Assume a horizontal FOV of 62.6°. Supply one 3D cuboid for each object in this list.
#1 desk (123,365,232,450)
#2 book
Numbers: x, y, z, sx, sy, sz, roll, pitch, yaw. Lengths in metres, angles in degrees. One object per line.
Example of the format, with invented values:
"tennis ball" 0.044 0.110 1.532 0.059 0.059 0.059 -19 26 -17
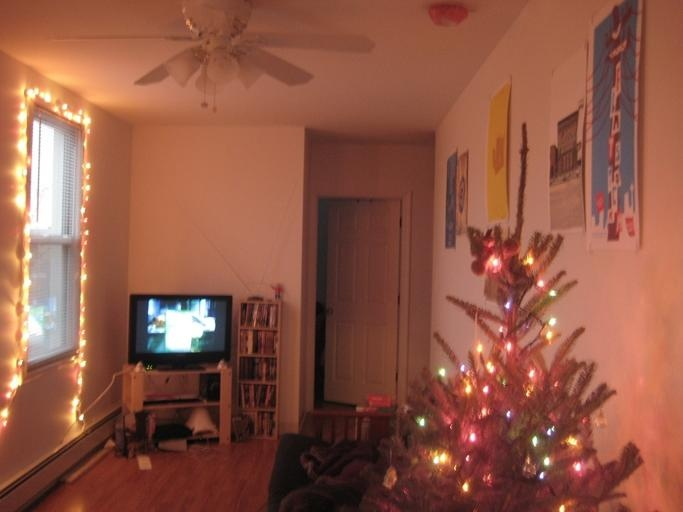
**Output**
"desk" -1.520 1.323 4.888 0.630 0.498 0.289 1 -8 -11
"book" -0.773 1.006 5.088 0.424 1.155 0.106 -1 0 7
